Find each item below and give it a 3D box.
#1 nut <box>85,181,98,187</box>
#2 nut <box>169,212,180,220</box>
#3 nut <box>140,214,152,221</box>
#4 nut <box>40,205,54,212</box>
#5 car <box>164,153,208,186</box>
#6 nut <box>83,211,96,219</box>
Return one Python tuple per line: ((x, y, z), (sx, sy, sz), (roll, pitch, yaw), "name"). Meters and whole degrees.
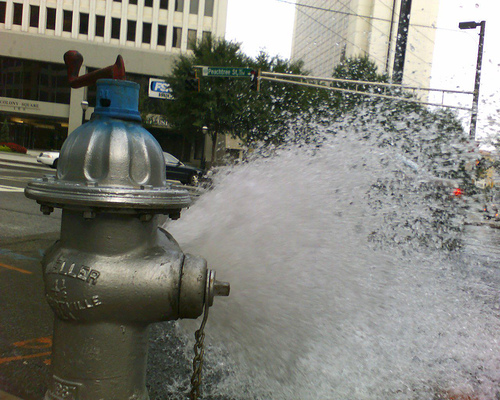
((-0.815, -0.085, 2.886), (0.060, 0.019, 0.087), (-3, 12, -16), "nut")
((-0.411, 0.089, 3.064), (0.055, 0.034, 0.057), (2, -8, -10), "nut")
((-0.543, 0.093, 2.919), (0.044, 0.032, 0.011), (1, -5, -11), "nut")
((-1.070, 0.046, 2.953), (0.043, 0.049, 0.052), (-1, 0, 19), "nut")
((-1.897, -1.068, 21.489), (2.773, 1.067, 1.258), (1, 7, -14), "car")
((-0.820, 0.078, 2.884), (0.065, 0.046, 0.051), (-7, 13, -31), "nut")
